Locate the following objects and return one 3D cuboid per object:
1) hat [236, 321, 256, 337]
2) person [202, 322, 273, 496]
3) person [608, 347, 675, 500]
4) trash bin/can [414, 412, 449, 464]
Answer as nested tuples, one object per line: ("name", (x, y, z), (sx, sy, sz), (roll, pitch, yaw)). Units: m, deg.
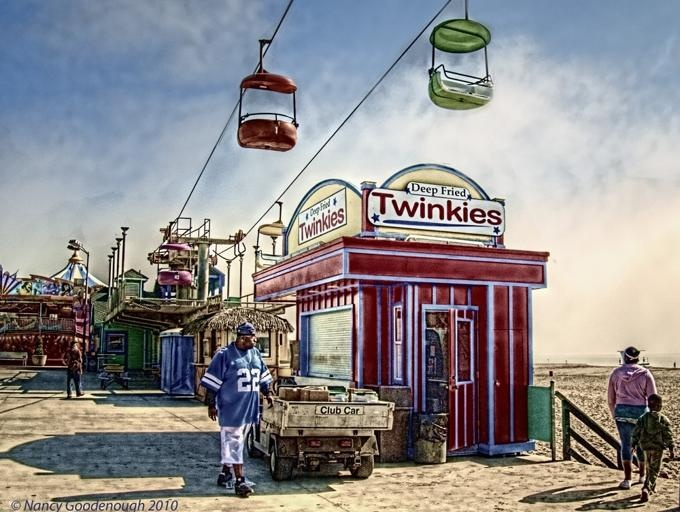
("hat", (-1.766, 1.337, 16.077), (0.339, 0.308, 0.468), (0, 1, -33))
("person", (-1.891, 2.711, 15.725), (1.242, 3.015, 0.666), (6, -10, -15))
("person", (5.419, 3.073, 16.335), (0.912, 2.703, 1.458), (0, -10, 17))
("trash bin/can", (1.826, 3.795, 18.588), (0.854, 1.347, 0.924), (0, -3, 10))
